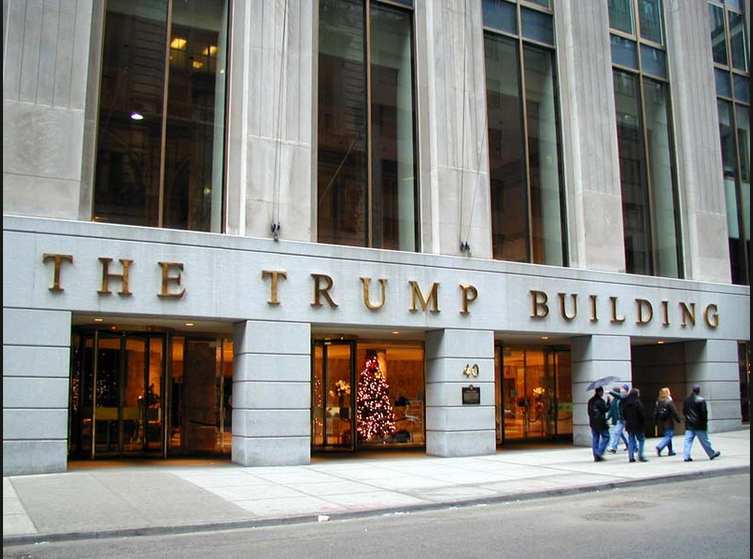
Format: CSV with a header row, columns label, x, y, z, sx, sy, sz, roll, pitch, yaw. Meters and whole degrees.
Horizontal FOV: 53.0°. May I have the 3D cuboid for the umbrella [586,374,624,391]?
label,x,y,z,sx,sy,sz,roll,pitch,yaw
umbrella,7.521,3.430,24.923,0.647,0.254,0.683,-12,-16,-23

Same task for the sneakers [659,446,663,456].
label,x,y,z,sx,sy,sz,roll,pitch,yaw
sneakers,8.461,5.148,22.438,0.122,0.308,0.510,-2,-5,19

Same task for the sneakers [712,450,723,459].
label,x,y,z,sx,sy,sz,roll,pitch,yaw
sneakers,9.607,4.962,21.256,0.139,0.196,0.434,2,22,36
